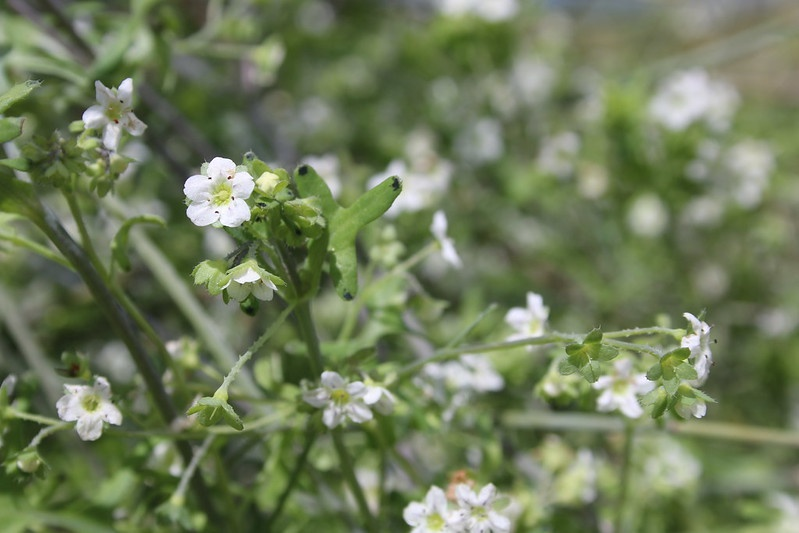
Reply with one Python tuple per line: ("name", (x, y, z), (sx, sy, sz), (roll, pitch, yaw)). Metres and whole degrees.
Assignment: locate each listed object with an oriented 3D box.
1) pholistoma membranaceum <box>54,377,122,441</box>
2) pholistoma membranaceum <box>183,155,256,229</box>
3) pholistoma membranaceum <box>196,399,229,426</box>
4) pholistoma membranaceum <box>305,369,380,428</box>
("pholistoma membranaceum", (-0.705, 0.332, 2.025), (0.134, 0.103, 0.129), (-2, 54, 3))
("pholistoma membranaceum", (-0.397, -0.150, 1.959), (0.154, 0.107, 0.135), (5, 55, 8))
("pholistoma membranaceum", (-0.416, 0.325, 1.961), (0.065, 0.069, 0.044), (-16, 53, -7))
("pholistoma membranaceum", (-0.141, 0.305, 2.006), (0.149, 0.119, 0.099), (-7, 53, -1))
